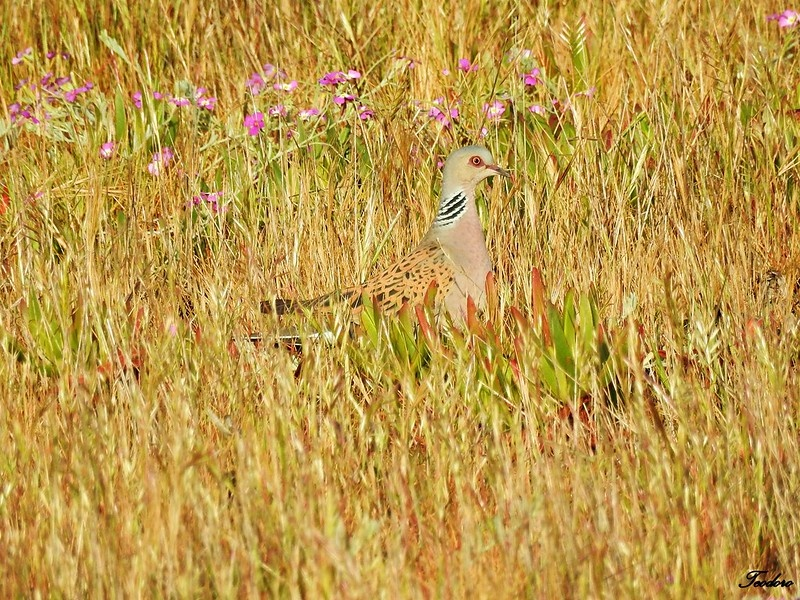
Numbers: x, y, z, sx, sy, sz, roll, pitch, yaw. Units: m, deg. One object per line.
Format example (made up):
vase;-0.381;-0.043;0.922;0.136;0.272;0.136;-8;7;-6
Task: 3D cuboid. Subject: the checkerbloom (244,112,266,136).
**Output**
checkerbloom;-0.788;-0.943;6.654;0.110;0.031;0.137;-16;55;40

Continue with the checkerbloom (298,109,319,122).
checkerbloom;-0.507;-1.020;6.827;0.081;0.042;0.078;-17;5;6
